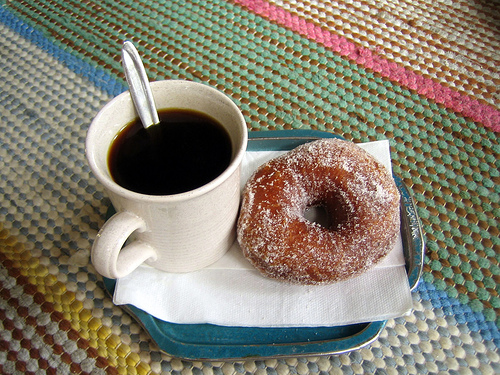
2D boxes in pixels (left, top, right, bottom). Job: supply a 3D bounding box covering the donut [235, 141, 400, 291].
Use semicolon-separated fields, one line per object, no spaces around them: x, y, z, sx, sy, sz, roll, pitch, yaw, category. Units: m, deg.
0.136;0.041;0.983;0.386;0.126;0.294;-3;74;-15;donut
